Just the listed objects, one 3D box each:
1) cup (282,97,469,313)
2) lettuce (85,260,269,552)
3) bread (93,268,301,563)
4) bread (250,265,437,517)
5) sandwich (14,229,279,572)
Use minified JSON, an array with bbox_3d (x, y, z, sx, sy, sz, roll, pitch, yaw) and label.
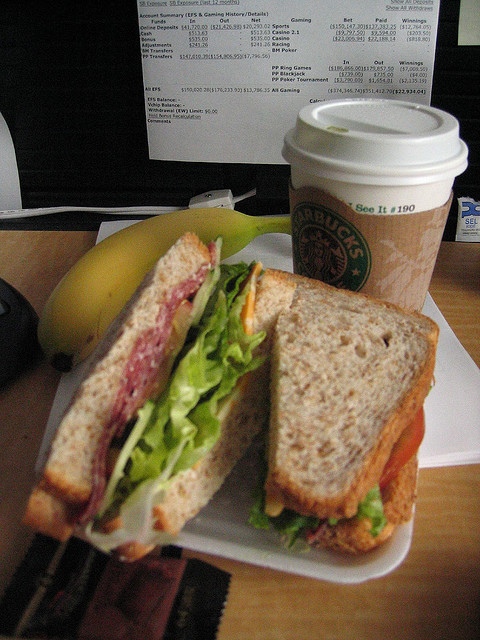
[{"bbox_3d":[0.222,-0.169,0.830,0.262,0.344,0.244,-4,41,4],"label":"cup"},{"bbox_3d":[-0.058,0.080,0.698,0.118,0.146,0.406,0,64,54],"label":"lettuce"},{"bbox_3d":[-0.018,0.063,0.755,0.142,0.152,0.534,21,69,24],"label":"bread"},{"bbox_3d":[0.146,0.119,0.722,0.302,0.080,0.280,31,62,20],"label":"bread"},{"bbox_3d":[-0.111,0.078,0.741,0.490,0.278,0.173,-62,23,-13],"label":"sandwich"}]
